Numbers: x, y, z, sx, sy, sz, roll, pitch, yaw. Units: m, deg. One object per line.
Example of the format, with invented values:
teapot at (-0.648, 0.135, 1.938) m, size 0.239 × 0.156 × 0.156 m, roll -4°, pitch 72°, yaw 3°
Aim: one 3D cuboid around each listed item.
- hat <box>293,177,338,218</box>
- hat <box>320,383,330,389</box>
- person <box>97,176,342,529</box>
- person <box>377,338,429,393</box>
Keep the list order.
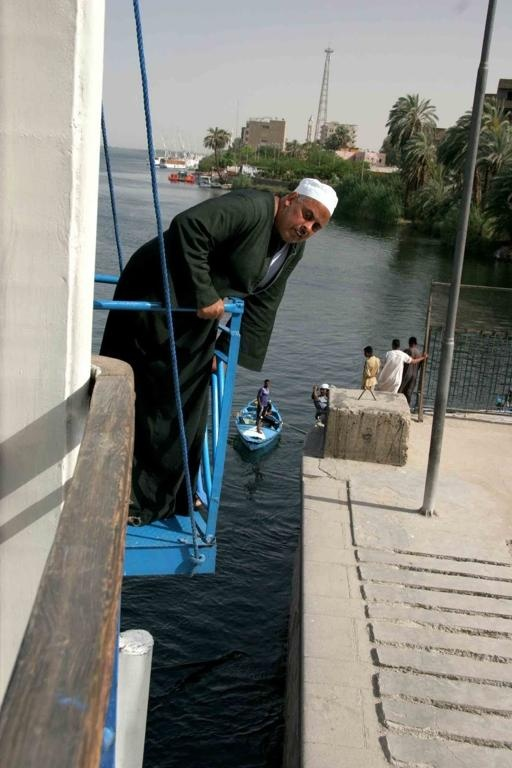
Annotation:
hat at (0.380, -1.195, 4.221) m, size 0.276 × 0.212 × 0.310 m, roll 5°, pitch 15°, yaw 1°
hat at (2.107, 0.069, 20.103) m, size 0.346 × 0.177 × 0.485 m, roll 0°, pitch 2°, yaw 3°
person at (-0.304, -0.152, 4.386) m, size 1.192 × 2.425 × 0.842 m, roll -6°, pitch 19°, yaw -35°
person at (3.261, -0.259, 15.046) m, size 0.795 × 1.566 × 0.447 m, roll 18°, pitch 27°, yaw 9°
